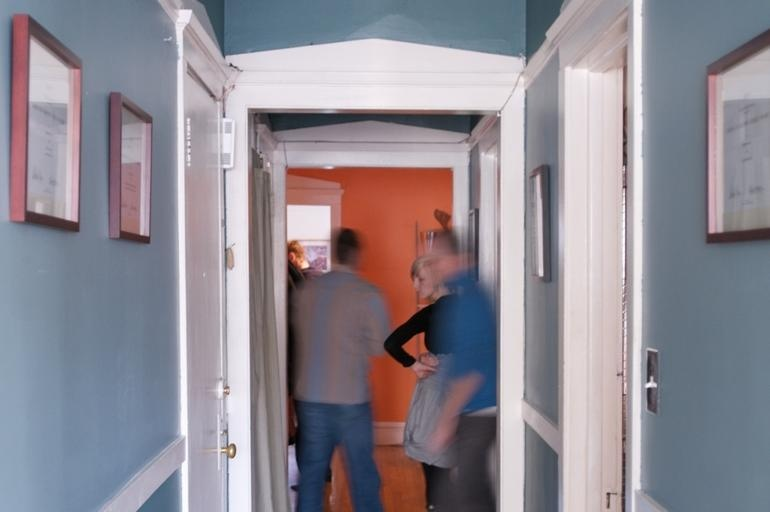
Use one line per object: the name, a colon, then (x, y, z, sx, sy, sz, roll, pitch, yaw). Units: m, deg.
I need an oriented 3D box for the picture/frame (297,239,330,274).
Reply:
picture/frame: (-0.592, -0.014, 5.249, 0.264, 0.288, 0.027, -1, 4, -3)
